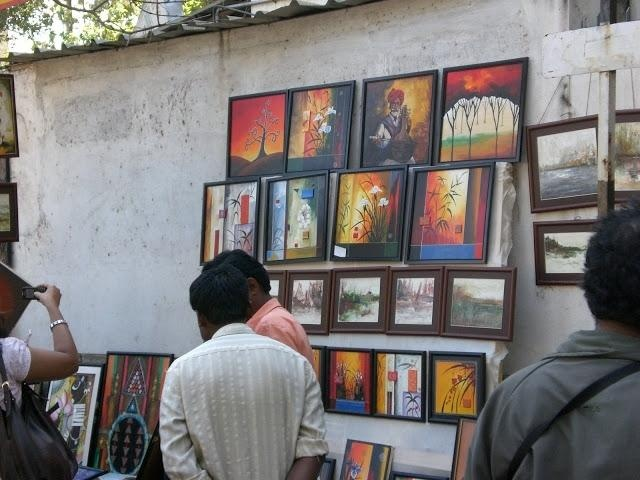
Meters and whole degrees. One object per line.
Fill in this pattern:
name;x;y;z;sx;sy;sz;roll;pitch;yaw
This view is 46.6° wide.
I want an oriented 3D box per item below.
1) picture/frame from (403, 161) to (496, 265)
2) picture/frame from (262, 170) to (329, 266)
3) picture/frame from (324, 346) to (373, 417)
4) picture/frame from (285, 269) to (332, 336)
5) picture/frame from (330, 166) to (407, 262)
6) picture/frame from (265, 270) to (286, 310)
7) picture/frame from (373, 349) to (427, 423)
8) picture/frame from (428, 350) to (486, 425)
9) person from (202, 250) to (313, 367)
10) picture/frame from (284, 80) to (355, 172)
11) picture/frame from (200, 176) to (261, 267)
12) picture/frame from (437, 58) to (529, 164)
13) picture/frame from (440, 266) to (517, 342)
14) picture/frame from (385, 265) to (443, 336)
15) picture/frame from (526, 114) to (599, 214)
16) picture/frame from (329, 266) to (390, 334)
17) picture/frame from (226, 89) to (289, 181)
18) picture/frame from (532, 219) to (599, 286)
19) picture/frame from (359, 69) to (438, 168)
picture/frame;0.890;-0.171;4.994;0.581;0.823;0.034;1;-5;28
picture/frame;-0.169;-0.153;5.573;0.618;0.868;0.051;0;-3;32
picture/frame;0.207;1.010;5.256;0.420;0.620;0.038;-3;-7;32
picture/frame;-0.074;0.450;5.304;0.406;0.567;0.033;-3;-6;34
picture/frame;0.360;-0.177;5.284;0.591;0.828;0.034;0;-6;36
picture/frame;-0.299;0.332;4.931;0.021;0.352;0.273;4;-7;-40
picture/frame;0.550;1.002;5.060;0.432;0.584;0.037;-3;-7;35
picture/frame;0.887;0.955;4.777;0.492;0.676;0.042;-2;-6;37
person;-0.322;0.490;4.083;0.439;0.840;0.801;-18;-11;-5
picture/frame;0.009;-0.831;5.542;0.602;0.849;0.049;2;-3;36
picture/frame;-0.669;-0.138;5.601;0.597;0.755;0.030;-3;-5;31
picture/frame;1.106;-0.853;4.952;0.640;0.891;0.055;-1;-4;36
picture/frame;1.019;0.410;4.858;0.477;0.566;0.036;3;27;12
picture/frame;0.642;0.415;5.080;0.376;0.538;0.032;2;25;6
picture/frame;1.547;-0.473;4.695;0.569;0.774;0.048;-3;-3;33
picture/frame;0.272;0.426;5.306;0.436;0.519;0.040;-1;-30;11
picture/frame;-0.479;-0.804;5.821;0.635;0.853;0.033;-2;-5;36
picture/frame;1.412;0.073;4.275;0.355;0.381;0.035;-2;-3;35
picture/frame;0.569;-0.839;5.245;0.613;0.867;0.050;2;-1;32
